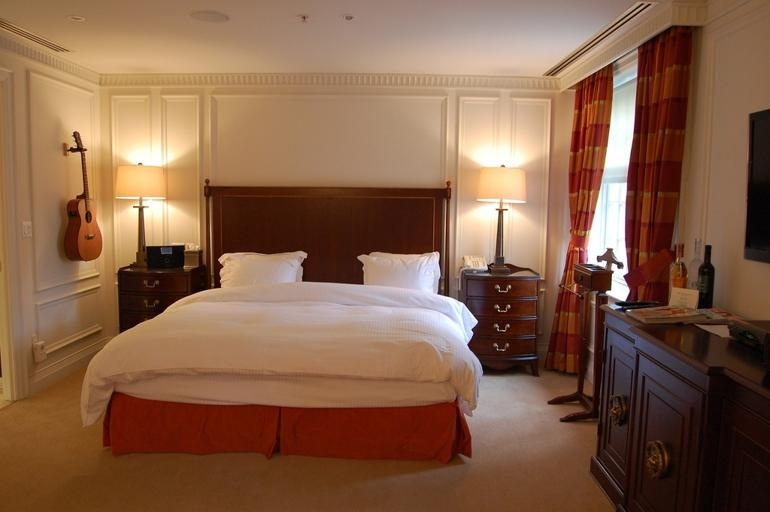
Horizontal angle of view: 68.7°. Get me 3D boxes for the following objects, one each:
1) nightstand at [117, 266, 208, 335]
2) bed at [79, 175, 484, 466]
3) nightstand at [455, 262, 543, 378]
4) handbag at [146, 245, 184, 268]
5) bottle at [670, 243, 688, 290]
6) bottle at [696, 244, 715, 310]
[{"bbox_3d":[-2.529,0.539,6.412,0.820,0.788,0.551,1,2,1],"label":"nightstand"},{"bbox_3d":[-0.770,0.450,5.515,3.316,2.218,2.131,1,7,-1],"label":"bed"},{"bbox_3d":[1.299,0.683,6.424,0.866,1.111,0.687,0,6,-1],"label":"nightstand"},{"bbox_3d":[-2.433,0.015,6.270,0.422,0.300,0.243,1,6,-7],"label":"handbag"},{"bbox_3d":[2.301,0.074,4.409,0.115,0.340,0.198,5,8,26],"label":"bottle"},{"bbox_3d":[2.512,0.160,4.410,0.123,0.499,0.338,6,9,31],"label":"bottle"}]
